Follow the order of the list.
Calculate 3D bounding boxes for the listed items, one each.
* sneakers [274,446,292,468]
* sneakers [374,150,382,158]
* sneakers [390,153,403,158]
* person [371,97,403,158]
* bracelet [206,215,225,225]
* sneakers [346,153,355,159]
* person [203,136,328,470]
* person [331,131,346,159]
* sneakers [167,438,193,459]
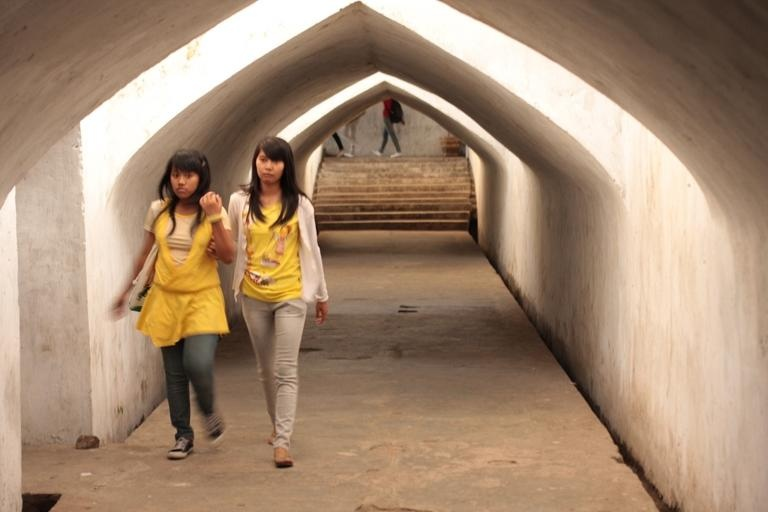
[{"bbox_3d":[-0.584,1.185,3.824,0.073,0.080,0.178,-2,-10,-10],"label":"sneakers"},{"bbox_3d":[-0.166,-3.289,20.804,0.180,0.160,0.431,-19,-7,21],"label":"sneakers"},{"bbox_3d":[0.354,-3.119,20.127,0.167,0.197,0.482,-5,6,-38],"label":"sneakers"},{"bbox_3d":[0.101,-3.825,19.393,1.200,0.768,2.542,5,31,1],"label":"person"},{"bbox_3d":[-0.894,-0.203,3.539,0.093,0.051,0.048,-5,10,-37],"label":"bracelet"},{"bbox_3d":[-1.062,-3.186,20.828,0.273,0.125,0.414,-13,7,12],"label":"sneakers"},{"bbox_3d":[-0.601,0.304,3.711,0.553,1.926,0.317,1,8,-7],"label":"person"},{"bbox_3d":[-1.294,-3.276,19.758,0.181,0.770,0.731,-11,-34,2],"label":"person"},{"bbox_3d":[-1.230,1.169,3.964,0.084,0.082,0.210,-2,-9,6],"label":"sneakers"}]
